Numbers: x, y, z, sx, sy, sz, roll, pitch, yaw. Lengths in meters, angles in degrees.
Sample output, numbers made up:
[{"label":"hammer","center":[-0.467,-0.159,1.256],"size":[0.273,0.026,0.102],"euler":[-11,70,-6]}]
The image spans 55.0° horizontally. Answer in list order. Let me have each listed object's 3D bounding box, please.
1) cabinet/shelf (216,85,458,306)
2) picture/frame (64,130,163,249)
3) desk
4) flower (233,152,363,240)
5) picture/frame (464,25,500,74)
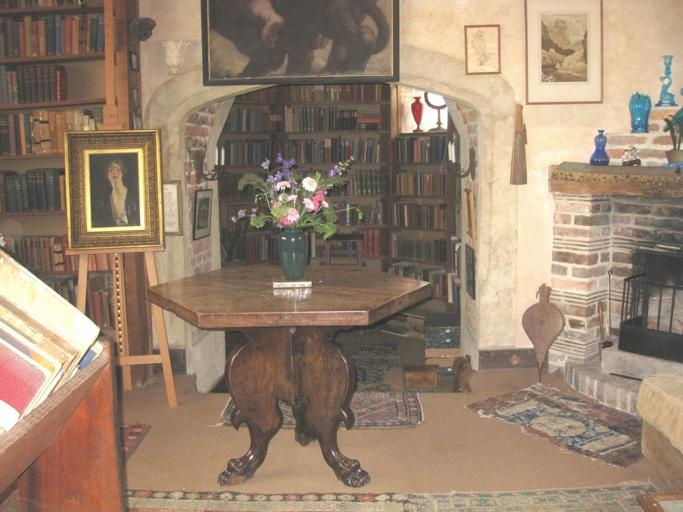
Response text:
[{"label":"cabinet/shelf","center":[0.154,-0.983,7.814],"size":[3.097,3.214,2.190],"euler":[-2,2,-14]},{"label":"picture/frame","center":[-1.495,-0.438,4.263],"size":[0.721,0.955,0.066],"euler":[-2,4,-6]},{"label":"desk","center":[-0.266,0.709,3.770],"size":[1.411,1.065,1.521],"euler":[-2,1,-9]},{"label":"flower","center":[-0.409,-0.514,5.508],"size":[0.942,0.673,0.958],"euler":[6,10,39]},{"label":"picture/frame","center":[1.001,-1.470,4.669],"size":[0.315,0.414,0.028],"euler":[-1,5,-3]}]
